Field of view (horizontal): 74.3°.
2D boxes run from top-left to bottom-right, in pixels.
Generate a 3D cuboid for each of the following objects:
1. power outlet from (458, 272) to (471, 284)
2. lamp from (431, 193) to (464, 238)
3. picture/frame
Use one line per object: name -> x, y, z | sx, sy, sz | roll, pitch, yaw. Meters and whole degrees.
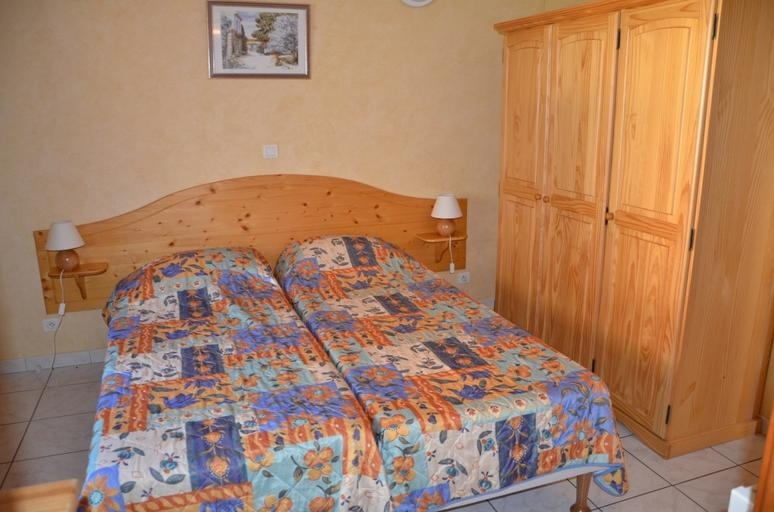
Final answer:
power outlet -> 0.753, 0.209, 5.051 | 0.155, 0.102, 0.014 | -4, 9, -23
lamp -> 0.557, -0.381, 4.787 | 0.283, 0.401, 0.332 | -1, 15, 6
picture/frame -> -1.096, -1.789, 4.171 | 0.891, 0.477, 0.031 | -1, 11, -16
